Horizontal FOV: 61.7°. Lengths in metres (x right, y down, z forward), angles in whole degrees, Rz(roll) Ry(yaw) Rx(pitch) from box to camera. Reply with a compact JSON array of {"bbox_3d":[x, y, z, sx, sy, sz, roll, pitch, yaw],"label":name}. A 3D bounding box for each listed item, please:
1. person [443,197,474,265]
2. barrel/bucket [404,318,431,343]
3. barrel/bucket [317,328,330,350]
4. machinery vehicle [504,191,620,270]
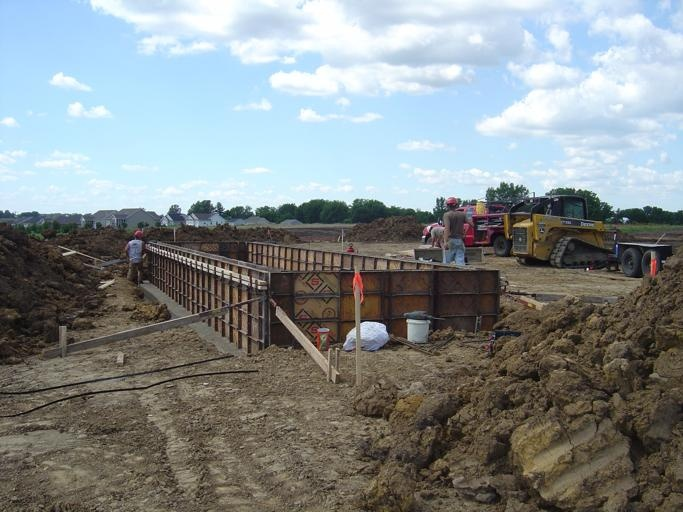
[{"bbox_3d":[3.033,-0.625,15.114,0.694,1.994,1.354,-2,13,12],"label":"person"},{"bbox_3d":[1.520,1.487,11.402,0.446,0.460,0.453,0,-3,0],"label":"barrel/bucket"},{"bbox_3d":[-0.342,1.578,10.853,0.337,0.535,0.335,0,5,0],"label":"barrel/bucket"},{"bbox_3d":[9.193,-1.027,23.968,4.409,3.055,2.474,0,3,-29],"label":"machinery vehicle"}]
